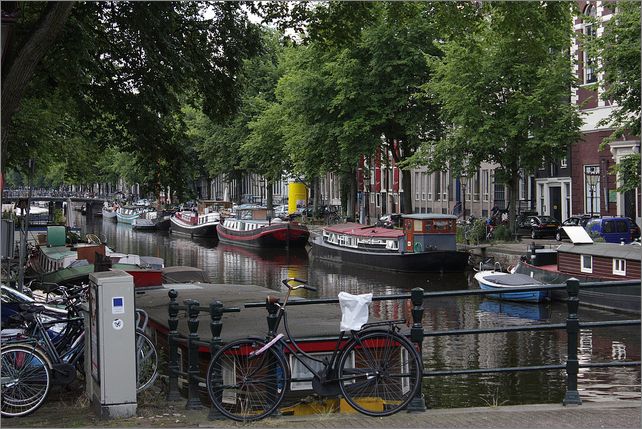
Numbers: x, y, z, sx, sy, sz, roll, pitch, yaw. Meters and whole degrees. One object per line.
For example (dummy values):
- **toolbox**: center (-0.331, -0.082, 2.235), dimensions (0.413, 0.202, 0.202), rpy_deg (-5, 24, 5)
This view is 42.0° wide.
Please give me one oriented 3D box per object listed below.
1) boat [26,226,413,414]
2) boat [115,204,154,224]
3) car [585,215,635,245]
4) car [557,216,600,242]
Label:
- **boat**: center (-0.948, 2.231, 13.637), dimensions (4.783, 2.074, 1.697), rpy_deg (-3, 2, 0)
- **boat**: center (-19.066, 0.119, 84.762), dimensions (2.071, 1.770, 7.936), rpy_deg (2, 3, -20)
- **car**: center (12.791, 0.787, 37.277), dimensions (1.378, 1.227, 2.288), rpy_deg (-1, 6, -7)
- **car**: center (12.216, 0.660, 41.270), dimensions (1.170, 0.953, 1.899), rpy_deg (-1, 4, -11)
